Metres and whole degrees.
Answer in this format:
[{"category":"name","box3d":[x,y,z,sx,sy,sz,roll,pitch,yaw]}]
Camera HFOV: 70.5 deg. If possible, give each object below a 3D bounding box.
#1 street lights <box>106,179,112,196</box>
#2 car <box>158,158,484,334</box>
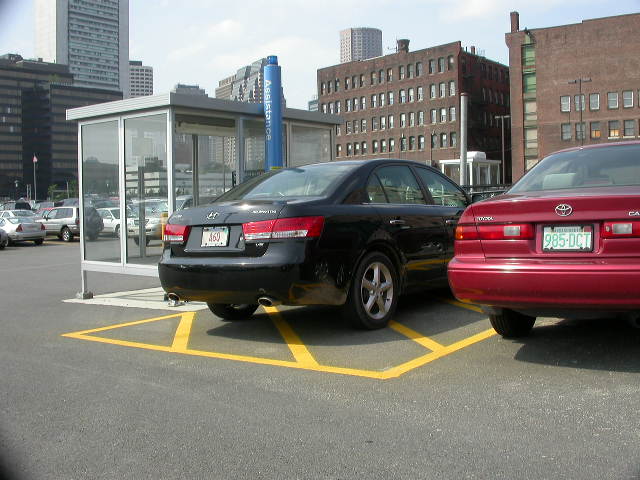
[{"category":"street lights","box3d":[-4.028,-0.999,8.708,0.205,0.304,0.038,-1,3,30]},{"category":"car","box3d":[0.084,0.009,5.825,3.653,2.154,1.564,-3,3,-36]}]
